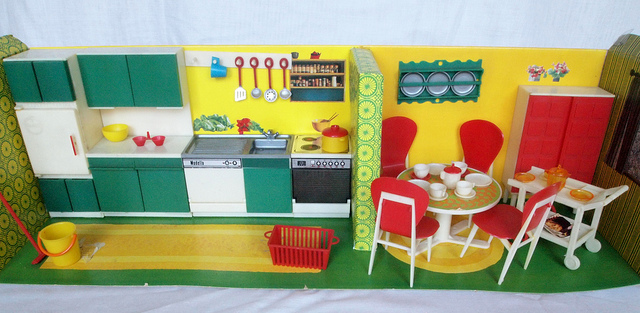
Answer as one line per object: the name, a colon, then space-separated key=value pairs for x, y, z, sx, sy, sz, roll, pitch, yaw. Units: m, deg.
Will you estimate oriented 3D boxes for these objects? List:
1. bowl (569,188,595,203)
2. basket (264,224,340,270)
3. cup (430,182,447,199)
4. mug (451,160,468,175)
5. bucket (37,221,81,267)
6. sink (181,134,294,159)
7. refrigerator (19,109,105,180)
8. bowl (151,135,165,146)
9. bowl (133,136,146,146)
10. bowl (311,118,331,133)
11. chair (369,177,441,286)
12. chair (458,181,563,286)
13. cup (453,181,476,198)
bowl: x=5.056 y=0.748 z=7.787 sx=0.377 sy=0.165 sz=0.366 roll=0 pitch=18 yaw=0
basket: x=-0.376 y=1.735 z=7.887 sx=1.192 sy=0.733 sz=0.584 roll=3 pitch=21 yaw=7
cup: x=2.196 y=0.616 z=7.518 sx=0.354 sy=0.181 sz=0.234 roll=3 pitch=33 yaw=12
mug: x=2.838 y=0.224 z=8.110 sx=0.348 sy=0.151 sz=0.310 roll=6 pitch=19 yaw=24
bucket: x=-5.115 y=1.717 z=7.882 sx=0.646 sy=0.755 sz=0.606 roll=0 pitch=21 yaw=0
sink: x=-1.726 y=-0.224 z=8.538 sx=2.256 sy=0.357 sz=0.720 roll=1 pitch=18 yaw=1
refrigerator: x=-5.294 y=-0.294 z=8.821 sx=1.604 sy=1.545 sz=1.366 roll=0 pitch=14 yaw=10
bowl: x=-3.444 y=-0.341 z=8.538 sx=0.252 sy=0.193 sz=0.188 roll=-6 pitch=21 yaw=-16
bowl: x=-3.849 y=-0.332 z=8.572 sx=0.237 sy=0.157 sz=0.266 roll=-6 pitch=20 yaw=-17
bowl: x=0.003 y=-0.696 z=8.656 sx=0.397 sy=0.221 sz=0.361 roll=-3 pitch=26 yaw=1
chair: x=1.548 y=1.273 z=7.526 sx=1.259 sy=1.944 sz=0.819 roll=6 pitch=23 yaw=13
chair: x=3.656 y=1.322 z=7.697 sx=1.294 sy=1.973 sz=0.928 roll=-16 pitch=28 yaw=-36
cup: x=2.716 y=0.606 z=7.554 sx=0.371 sy=0.130 sz=0.337 roll=-17 pitch=27 yaw=-37
